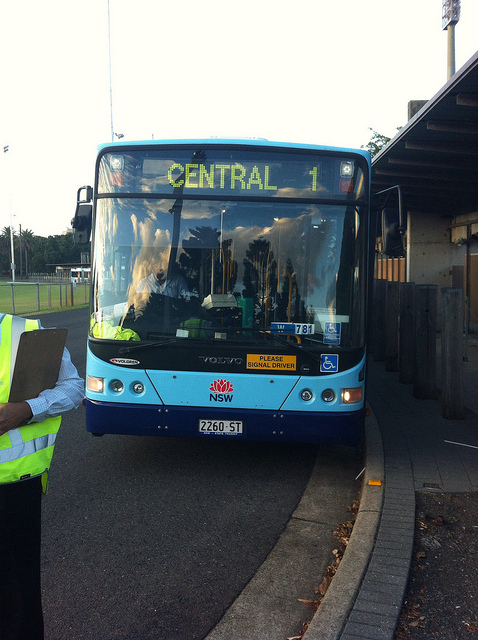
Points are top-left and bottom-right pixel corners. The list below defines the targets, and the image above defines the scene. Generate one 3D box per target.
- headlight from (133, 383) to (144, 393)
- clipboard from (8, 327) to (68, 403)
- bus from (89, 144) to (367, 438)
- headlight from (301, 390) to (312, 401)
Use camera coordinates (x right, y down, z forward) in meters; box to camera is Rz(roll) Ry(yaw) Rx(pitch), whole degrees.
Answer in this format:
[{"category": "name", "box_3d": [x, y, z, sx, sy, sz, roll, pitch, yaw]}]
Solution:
[{"category": "headlight", "box_3d": [-0.934, 0.647, 4.428, 0.065, 0.091, 0.077, 1, 3, 6]}, {"category": "clipboard", "box_3d": [-0.692, 0.159, 1.616, 0.021, 0.381, 0.225, 17, 11, 33]}, {"category": "bus", "box_3d": [0.008, -0.227, 4.398, 1.898, 2.381, 0.794, 1, 6, 6]}, {"category": "headlight", "box_3d": [0.614, 0.698, 4.328, 0.069, 0.096, 0.032, -3, 0, 2]}]
